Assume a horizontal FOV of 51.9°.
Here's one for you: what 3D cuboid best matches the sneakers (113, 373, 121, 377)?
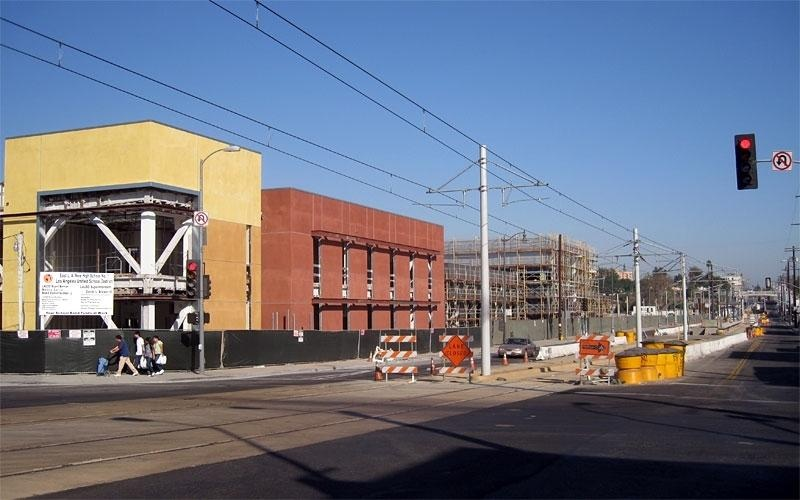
[{"bbox_3d":[-15.385,6.839,45.249,0.197,0.215,0.524,4,-2,-43],"label":"sneakers"}]

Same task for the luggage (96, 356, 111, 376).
[{"bbox_3d":[-16.340,6.470,45.745,0.640,0.959,0.235,6,-9,-11],"label":"luggage"}]

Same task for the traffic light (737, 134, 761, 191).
[{"bbox_3d":[13.306,-3.458,31.885,0.730,2.202,1.143,-6,-10,21],"label":"traffic light"}]

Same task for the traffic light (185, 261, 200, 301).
[{"bbox_3d":[-11.447,1.599,45.886,0.630,2.113,0.559,0,-10,-14],"label":"traffic light"}]

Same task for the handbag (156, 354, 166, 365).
[{"bbox_3d":[-13.331,6.122,46.276,0.462,0.621,0.632,8,-2,26],"label":"handbag"}]

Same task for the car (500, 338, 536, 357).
[{"bbox_3d":[8.811,7.292,61.539,2.615,1.705,4.199,-4,-10,13],"label":"car"}]

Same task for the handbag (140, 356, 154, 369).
[{"bbox_3d":[-14.006,6.298,45.975,0.514,0.976,0.685,3,-8,-29],"label":"handbag"}]
